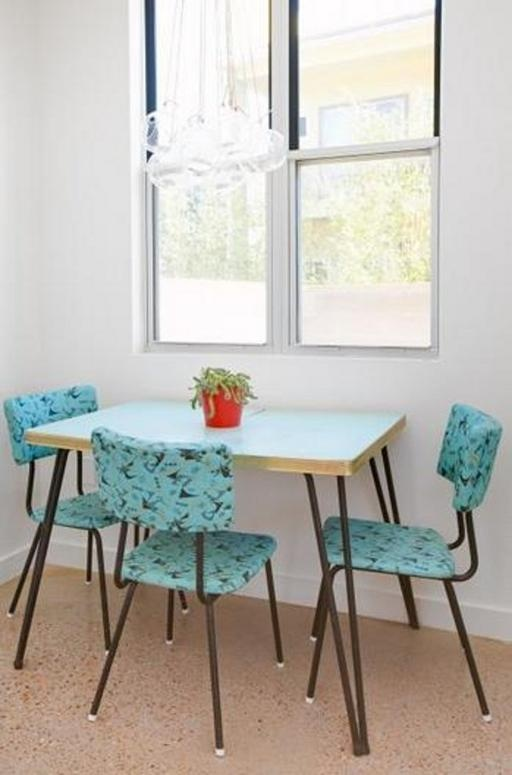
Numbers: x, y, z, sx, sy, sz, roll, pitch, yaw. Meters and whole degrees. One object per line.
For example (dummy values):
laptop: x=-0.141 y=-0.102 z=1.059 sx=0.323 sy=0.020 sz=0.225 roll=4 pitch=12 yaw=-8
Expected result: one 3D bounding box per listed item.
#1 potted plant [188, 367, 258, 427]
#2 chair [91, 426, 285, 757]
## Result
potted plant: x=-0.112 y=0.052 z=2.079 sx=0.233 sy=0.227 sz=0.254 roll=2 pitch=-9 yaw=-26
chair: x=-0.183 y=0.463 z=1.739 sx=0.505 sy=0.770 sz=0.539 roll=0 pitch=7 yaw=2
